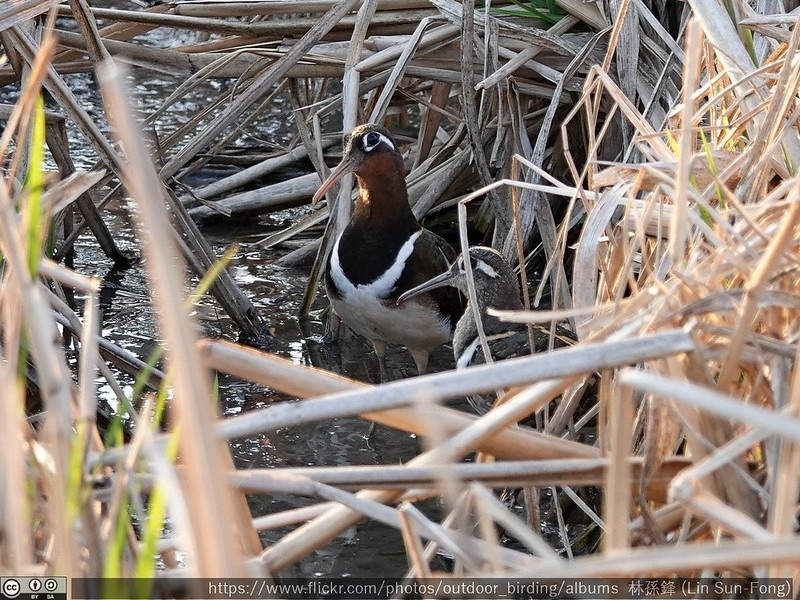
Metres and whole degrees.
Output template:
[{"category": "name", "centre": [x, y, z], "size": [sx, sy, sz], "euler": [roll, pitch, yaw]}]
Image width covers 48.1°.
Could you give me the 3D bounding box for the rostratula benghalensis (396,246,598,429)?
[{"category": "rostratula benghalensis", "centre": [0.500, 0.230, 3.716], "size": [1.040, 0.816, 0.397], "euler": [1, 7, 23]}]
